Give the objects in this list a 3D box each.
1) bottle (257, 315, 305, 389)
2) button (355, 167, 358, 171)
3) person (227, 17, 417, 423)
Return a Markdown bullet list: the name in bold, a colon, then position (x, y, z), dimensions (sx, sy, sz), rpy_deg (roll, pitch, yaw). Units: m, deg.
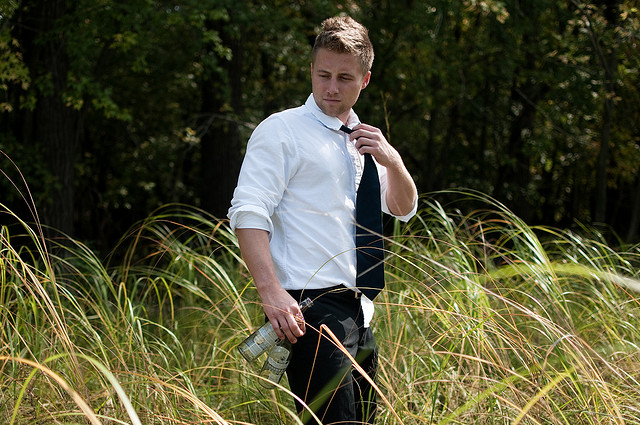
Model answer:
- **bottle**: position (-0.253, 0.912, 4.422), dimensions (0.132, 0.624, 0.186), rpy_deg (23, 30, -5)
- **button**: position (0.254, -0.304, 4.609), dimensions (0.014, 0.013, 0.040), rpy_deg (2, 12, -7)
- **person**: position (0.035, -0.002, 4.516), dimensions (1.241, 2.532, 0.551), rpy_deg (5, 1, -32)
